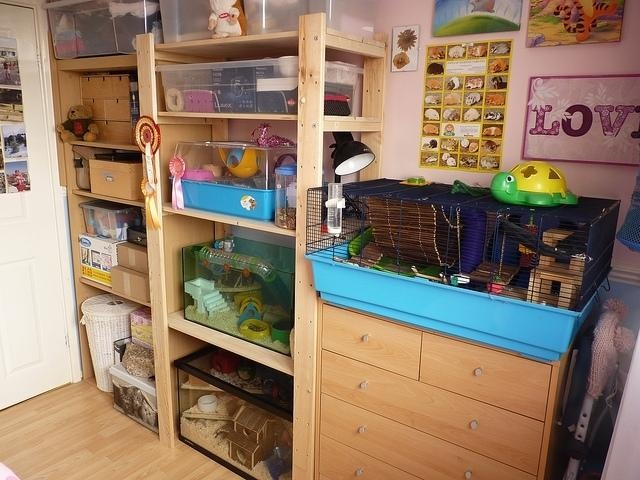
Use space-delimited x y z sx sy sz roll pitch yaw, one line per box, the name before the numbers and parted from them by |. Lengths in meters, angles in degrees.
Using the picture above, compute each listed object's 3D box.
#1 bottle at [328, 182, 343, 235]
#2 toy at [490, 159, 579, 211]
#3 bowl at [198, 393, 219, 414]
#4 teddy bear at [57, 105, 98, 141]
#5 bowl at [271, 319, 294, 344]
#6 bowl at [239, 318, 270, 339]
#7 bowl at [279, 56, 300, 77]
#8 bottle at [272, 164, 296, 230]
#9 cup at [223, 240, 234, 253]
bottle | 0.051 -0.103 1.619 0.059 0.200 0.123 2 18 2
toy | 0.692 -0.184 1.509 0.288 0.119 0.236 -13 24 -29
bowl | -0.550 0.802 2.348 0.097 0.072 0.100 3 5 0
teddy bear | -1.381 -0.655 2.625 0.201 0.178 0.117 5 14 1
bowl | -0.173 0.397 2.042 0.104 0.076 0.110 1 17 0
bowl | -0.303 0.401 2.119 0.121 0.040 0.087 9 14 43
bowl | -0.118 -0.646 1.741 0.082 0.048 0.077 0 19 0
bottle | -0.167 -0.166 1.915 0.148 0.230 0.135 -4 2 -4
cup | -0.437 0.026 2.222 0.053 0.069 0.054 0 3 0
